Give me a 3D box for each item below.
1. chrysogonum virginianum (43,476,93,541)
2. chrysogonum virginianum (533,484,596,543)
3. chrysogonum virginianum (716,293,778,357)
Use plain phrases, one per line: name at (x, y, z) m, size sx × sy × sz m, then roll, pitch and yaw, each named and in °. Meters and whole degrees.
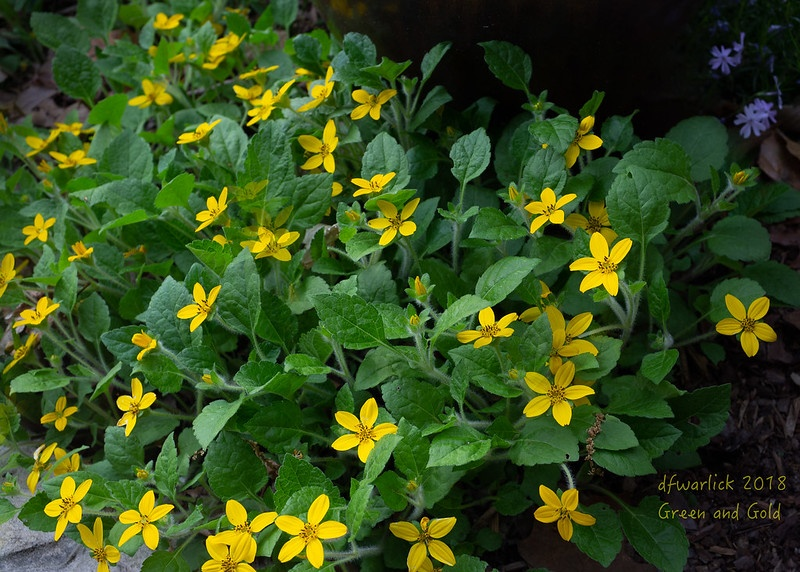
chrysogonum virginianum at (-1.350, 0.882, 2.624) m, size 0.149 × 0.062 × 0.209 m, roll -19°, pitch 21°, yaw 25°
chrysogonum virginianum at (0.616, 0.829, 2.418) m, size 0.188 × 0.082 × 0.222 m, roll 0°, pitch 11°, yaw 22°
chrysogonum virginianum at (1.456, 0.173, 2.683) m, size 0.202 × 0.333 × 0.216 m, roll 11°, pitch 58°, yaw 36°
